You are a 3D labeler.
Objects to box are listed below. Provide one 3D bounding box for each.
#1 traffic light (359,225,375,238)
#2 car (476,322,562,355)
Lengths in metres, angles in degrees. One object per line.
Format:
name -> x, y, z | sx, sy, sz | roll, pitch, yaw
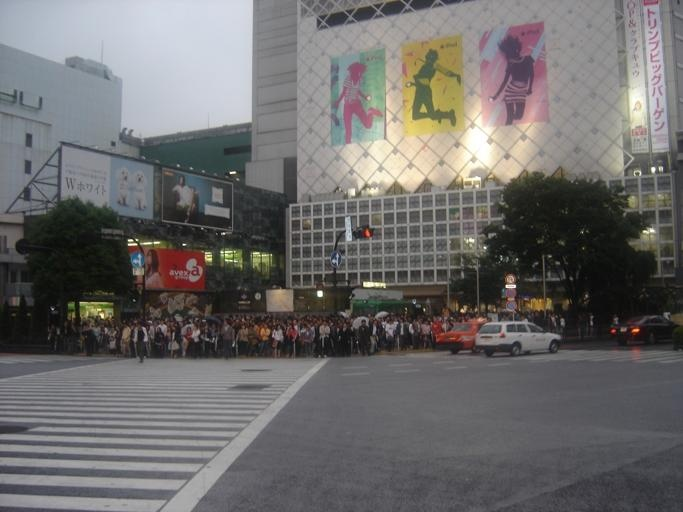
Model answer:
traffic light -> 1.127, -1.098, 32.227 | 0.665, 0.574, 0.302 | -4, 20, 11
car -> 8.070, 3.770, 32.547 | 3.837, 1.520, 1.063 | 1, -7, -27
